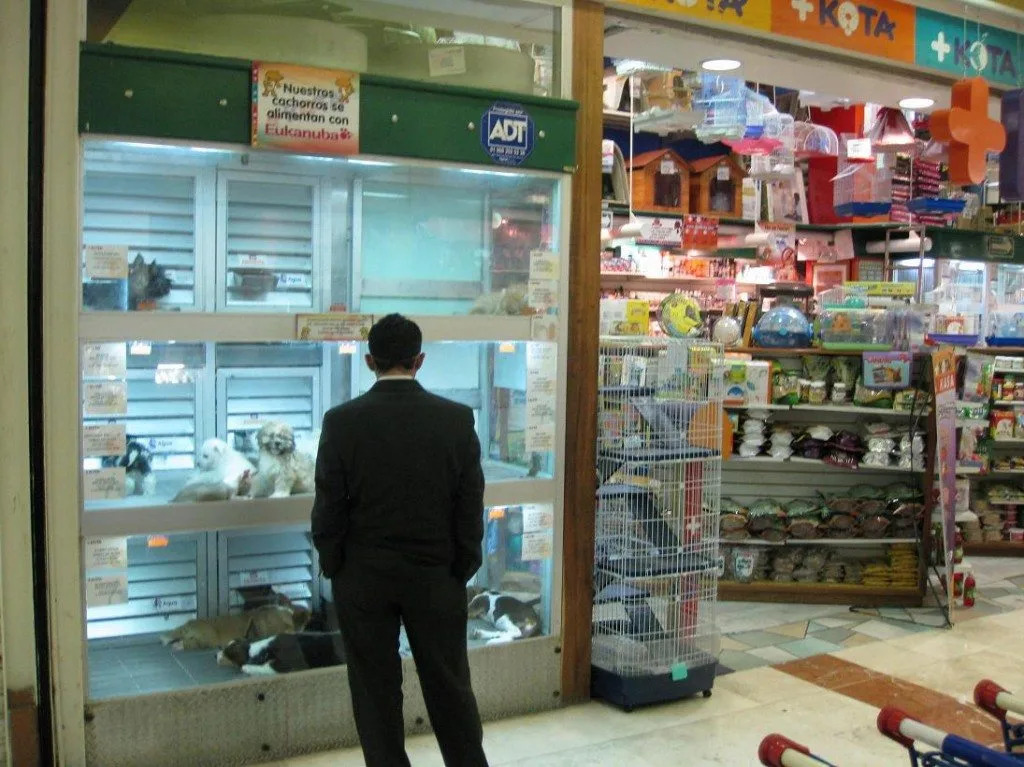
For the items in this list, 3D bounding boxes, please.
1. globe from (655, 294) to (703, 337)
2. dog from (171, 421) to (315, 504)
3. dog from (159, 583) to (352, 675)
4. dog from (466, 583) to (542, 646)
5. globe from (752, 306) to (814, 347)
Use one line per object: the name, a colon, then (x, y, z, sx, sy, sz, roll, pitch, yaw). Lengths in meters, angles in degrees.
globe: (1.009, -0.421, 5.468, 0.231, 0.276, 0.392, -1, 2, 8)
dog: (-1.218, 0.354, 4.178, 0.619, 0.335, 0.234, -2, 2, -14)
dog: (-1.159, 1.185, 4.283, 0.578, 0.204, 0.438, 5, -1, -1)
dog: (-0.030, 1.190, 4.758, 0.156, 0.282, 0.518, 25, -5, -9)
globe: (1.969, -0.419, 6.618, 0.329, 0.276, 0.323, -2, 3, -9)
